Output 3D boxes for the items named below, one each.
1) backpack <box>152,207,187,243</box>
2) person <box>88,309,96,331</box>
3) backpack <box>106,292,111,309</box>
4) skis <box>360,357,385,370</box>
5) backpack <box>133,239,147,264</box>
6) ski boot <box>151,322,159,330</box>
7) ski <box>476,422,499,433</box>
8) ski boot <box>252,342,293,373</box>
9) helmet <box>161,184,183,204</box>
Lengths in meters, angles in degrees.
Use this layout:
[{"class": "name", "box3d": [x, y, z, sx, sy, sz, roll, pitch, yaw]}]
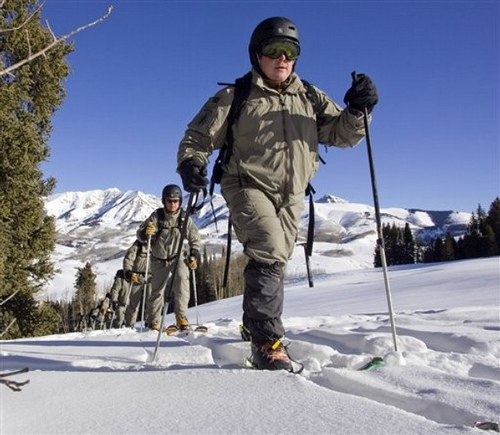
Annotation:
[{"class": "backpack", "box3d": [-1.401, 0.171, 6.866, 0.505, 0.641, 0.416, 0, -8, -5]}, {"class": "person", "box3d": [-3.701, 2.449, 9.422, 0.138, 0.499, 1.037, 3, -10, -21]}, {"class": "backpack", "box3d": [-3.320, 1.994, 9.438, 0.109, 0.348, 0.529, 2, -9, -19]}, {"class": "skis", "box3d": [0.820, 0.972, 2.639, 0.173, 0.062, 0.131, 8, -12, -44]}, {"class": "backpack", "box3d": [-2.188, 0.666, 7.921, 0.230, 0.348, 0.323, 23, -26, 16]}, {"class": "ski boot", "box3d": [-1.540, 1.795, 6.535, 0.096, 0.151, 0.146, 2, -24, -10]}, {"class": "ski", "box3d": [0.916, 0.812, 1.547, 0.042, 0.018, 0.032, 6, -6, -28]}, {"class": "ski boot", "box3d": [0.156, 0.982, 2.812, 0.235, 0.172, 0.505, 0, -9, -6]}, {"class": "helmet", "box3d": [-1.368, -0.377, 7.057, 0.337, 0.340, 0.394, 1, -19, -8]}]
